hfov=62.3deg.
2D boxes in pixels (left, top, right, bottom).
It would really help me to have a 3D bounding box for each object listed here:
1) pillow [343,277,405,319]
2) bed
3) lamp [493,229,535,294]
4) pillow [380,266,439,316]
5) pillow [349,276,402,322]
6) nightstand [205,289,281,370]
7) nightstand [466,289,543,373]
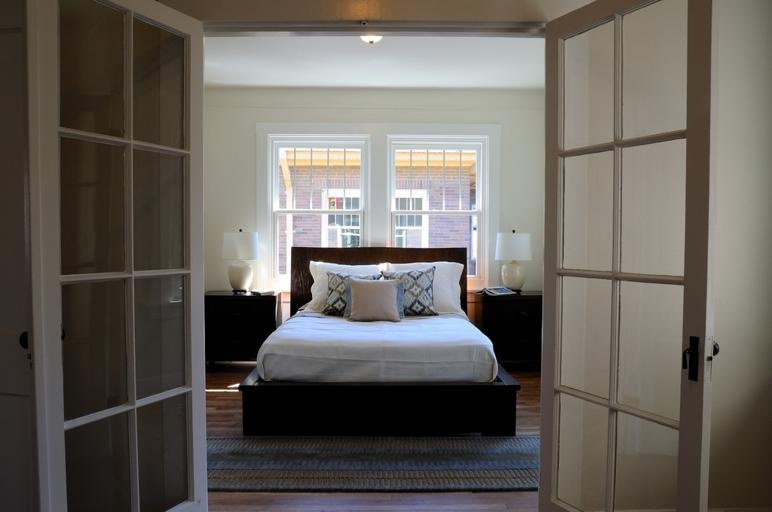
[{"bbox_3d":[-0.103,0.358,5.381,0.314,0.292,0.110,2,-31,-3],"label":"pillow"},{"bbox_3d":[-0.050,0.605,5.514,1.990,1.270,1.969,0,3,-1],"label":"bed"},{"bbox_3d":[1.273,0.037,6.315,0.330,0.551,0.339,0,2,34],"label":"lamp"},{"bbox_3d":[0.208,0.318,5.597,0.389,0.392,0.147,1,-27,-7],"label":"pillow"},{"bbox_3d":[-0.104,0.370,5.399,0.430,0.394,0.164,1,-13,-6],"label":"pillow"},{"bbox_3d":[-1.359,0.682,6.245,0.672,0.642,0.469,-1,2,0],"label":"nightstand"},{"bbox_3d":[1.245,0.756,6.258,0.746,0.737,0.479,-3,-14,-7],"label":"nightstand"}]
